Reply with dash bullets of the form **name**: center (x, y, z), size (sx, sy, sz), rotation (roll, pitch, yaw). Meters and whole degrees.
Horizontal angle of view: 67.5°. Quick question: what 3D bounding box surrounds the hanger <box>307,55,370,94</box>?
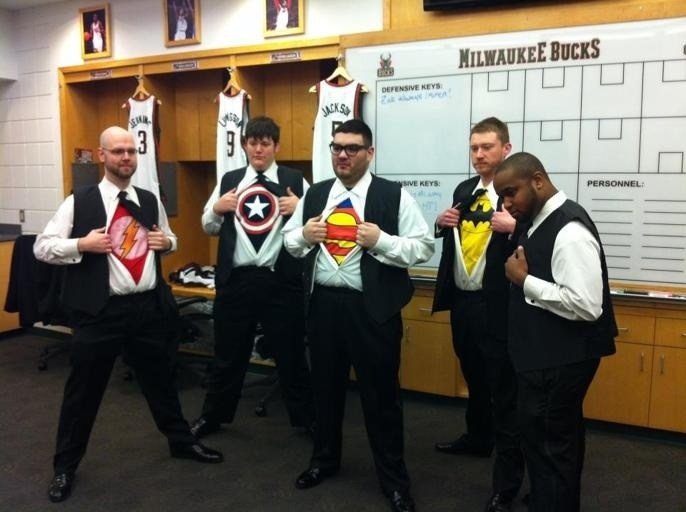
- **hanger**: center (-0.024, -1.543, 4.344), size (0.525, 0.335, 0.044), rotation (-2, 40, -6)

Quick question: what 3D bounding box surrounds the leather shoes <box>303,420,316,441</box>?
- **leather shoes**: center (-0.245, 1.296, 3.839), size (0.063, 0.081, 0.190), rotation (14, 1, -5)

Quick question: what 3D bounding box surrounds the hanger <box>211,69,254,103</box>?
- **hanger**: center (-1.039, -1.622, 4.857), size (0.444, 0.316, 0.051), rotation (8, 11, 32)

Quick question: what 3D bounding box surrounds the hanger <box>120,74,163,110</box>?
- **hanger**: center (-2.091, -1.752, 5.419), size (0.485, 0.365, 0.052), rotation (2, 8, 14)

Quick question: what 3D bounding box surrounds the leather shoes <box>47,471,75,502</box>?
- **leather shoes**: center (-1.735, 1.421, 3.185), size (0.081, 0.093, 0.206), rotation (3, 2, -12)

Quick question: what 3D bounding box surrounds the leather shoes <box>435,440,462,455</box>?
- **leather shoes**: center (0.756, 1.352, 3.682), size (0.218, 0.090, 0.075), rotation (2, 2, 28)

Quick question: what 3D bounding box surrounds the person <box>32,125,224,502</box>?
- **person**: center (-1.446, 0.312, 3.326), size (0.960, 2.243, 0.516), rotation (-5, 12, -24)

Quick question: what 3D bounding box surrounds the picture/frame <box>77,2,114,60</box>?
- **picture/frame**: center (-2.615, -2.432, 5.499), size (0.582, 0.854, 0.083), rotation (5, 8, 30)

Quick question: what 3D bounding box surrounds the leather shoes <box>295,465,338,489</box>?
- **leather shoes**: center (-0.163, 1.383, 3.327), size (0.285, 0.127, 0.103), rotation (-1, 7, -41)

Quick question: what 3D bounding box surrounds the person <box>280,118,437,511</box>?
- **person**: center (0.082, 0.335, 3.118), size (0.851, 2.273, 0.466), rotation (4, 11, 21)

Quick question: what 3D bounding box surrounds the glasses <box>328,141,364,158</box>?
- **glasses**: center (0.036, -0.628, 2.996), size (0.208, 0.084, 0.092), rotation (0, 11, 2)
